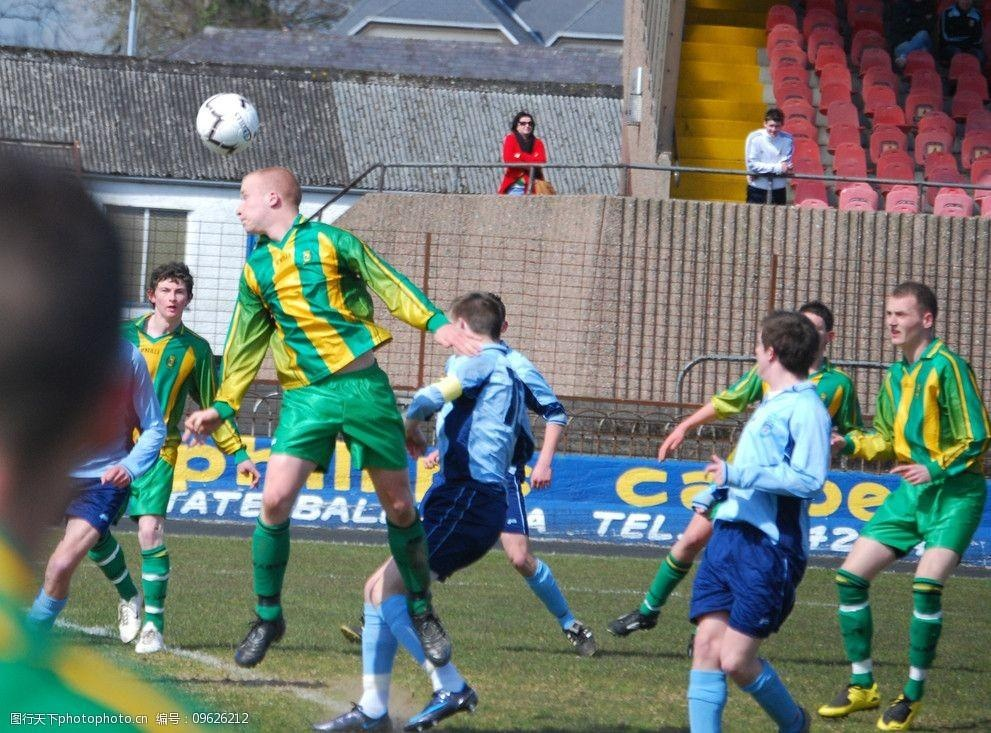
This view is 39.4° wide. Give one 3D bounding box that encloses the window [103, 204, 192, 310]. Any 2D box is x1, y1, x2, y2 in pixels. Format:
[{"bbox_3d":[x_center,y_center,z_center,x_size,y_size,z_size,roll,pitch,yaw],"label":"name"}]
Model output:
[{"bbox_3d":[-1.900,-0.722,7.667,0.519,0.342,0.019,2,0,24],"label":"window"}]
